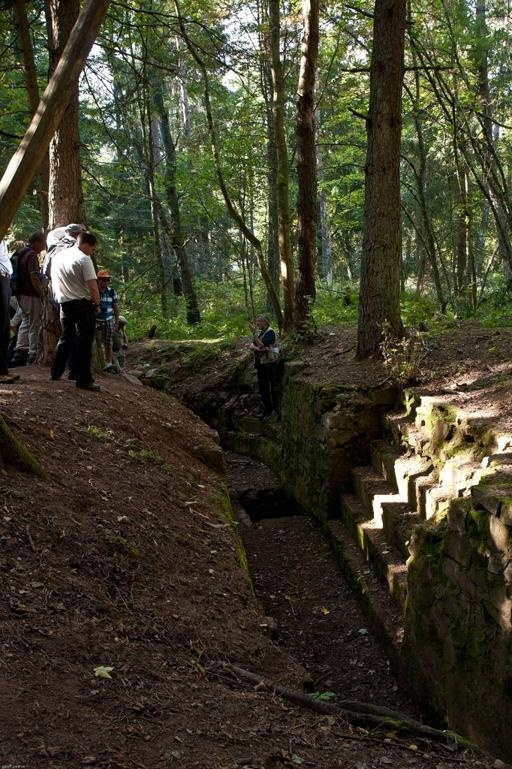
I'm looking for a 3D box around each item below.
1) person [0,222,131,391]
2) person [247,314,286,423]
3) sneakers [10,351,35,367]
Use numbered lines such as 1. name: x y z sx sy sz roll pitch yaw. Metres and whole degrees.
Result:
1. person: -1.797 -0.724 7.447 0.463 1.614 0.794 -13 11 -33
2. person: 0.203 -0.281 12.579 0.489 1.868 1.143 -7 9 2
3. sneakers: -2.942 -0.323 9.295 0.143 0.162 0.402 -1 -5 4
